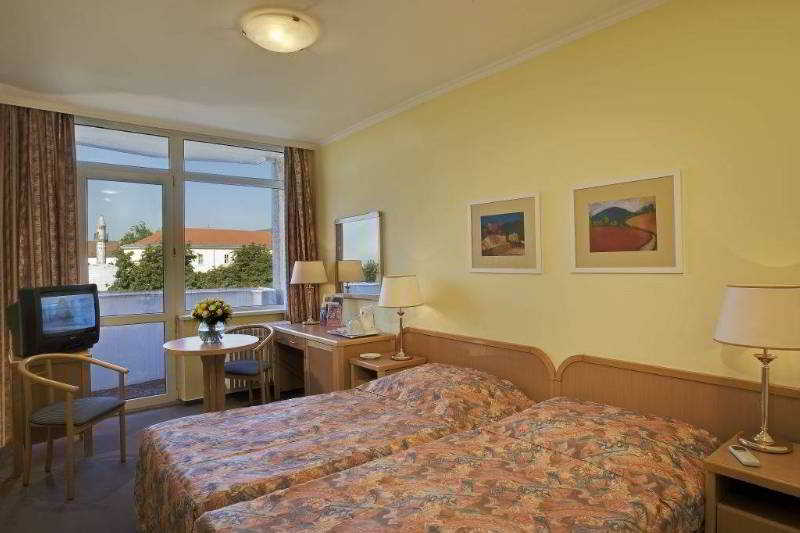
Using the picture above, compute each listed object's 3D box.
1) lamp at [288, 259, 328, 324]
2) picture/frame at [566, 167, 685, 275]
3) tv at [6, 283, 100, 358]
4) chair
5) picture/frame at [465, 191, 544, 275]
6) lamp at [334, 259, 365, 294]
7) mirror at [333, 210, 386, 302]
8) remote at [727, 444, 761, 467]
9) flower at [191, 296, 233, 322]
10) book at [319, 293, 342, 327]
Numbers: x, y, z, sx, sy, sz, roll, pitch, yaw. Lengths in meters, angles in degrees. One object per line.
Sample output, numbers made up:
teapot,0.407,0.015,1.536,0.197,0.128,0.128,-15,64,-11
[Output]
lamp,-1.195,0.331,6.842,0.477,0.808,0.470,-2,2,-9
picture/frame,1.836,-0.360,4.180,0.952,0.833,0.038,-1,-2,40
tv,-3.408,0.518,5.287,0.738,0.688,0.750,-2,-2,24
chair,-3.121,1.398,4.927,0.930,0.775,0.775,-1,2,20
picture/frame,1.002,-0.307,4.882,0.037,0.757,0.861,-3,1,-43
lamp,-0.641,0.107,6.566,0.452,0.450,0.342,-2,2,16
mirror,-0.474,-0.112,6.380,0.119,1.111,1.219,0,-2,-38
remote,2.229,1.227,3.394,0.138,0.080,0.187,-2,1,12
flower,-1.994,0.471,5.541,0.308,0.245,0.294,2,2,-16
book,-0.877,0.571,6.637,0.056,0.356,0.402,11,-11,-41
